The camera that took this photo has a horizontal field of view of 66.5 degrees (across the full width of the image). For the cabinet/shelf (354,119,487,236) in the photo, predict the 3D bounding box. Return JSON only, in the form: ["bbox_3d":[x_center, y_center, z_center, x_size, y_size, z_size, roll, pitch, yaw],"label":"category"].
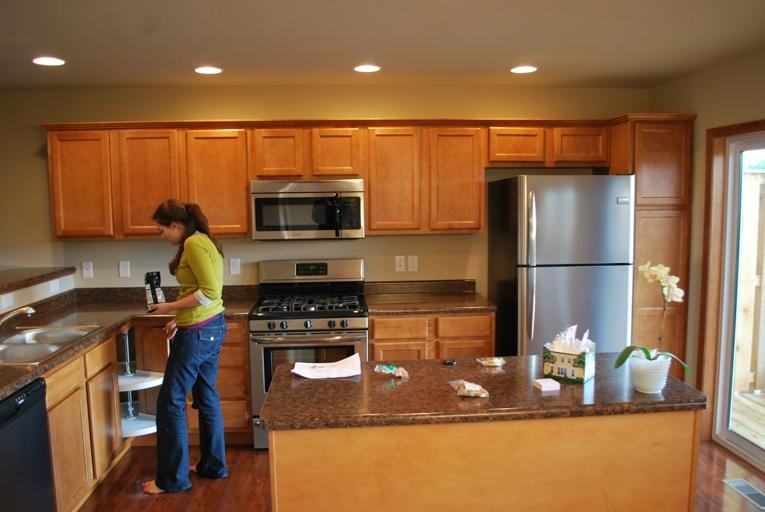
[{"bbox_3d":[0.265,-0.644,5.048,1.238,0.904,0.434,-5,9,-34],"label":"cabinet/shelf"}]

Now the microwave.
[{"bbox_3d":[-0.708,-0.359,4.976,1.012,0.474,0.567,-3,3,-29],"label":"microwave"}]

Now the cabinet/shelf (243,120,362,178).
[{"bbox_3d":[-0.547,-0.869,4.986,1.087,0.431,0.327,4,9,23],"label":"cabinet/shelf"}]

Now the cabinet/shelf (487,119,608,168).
[{"bbox_3d":[1.391,-0.935,5.024,1.227,0.356,0.185,-4,7,-18],"label":"cabinet/shelf"}]

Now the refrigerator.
[{"bbox_3d":[1.450,0.098,4.750,1.163,1.484,0.644,0,7,12],"label":"refrigerator"}]

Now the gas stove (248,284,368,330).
[{"bbox_3d":[-0.593,0.439,4.818,0.947,0.266,0.568,-2,15,-4],"label":"gas stove"}]

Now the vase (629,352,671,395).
[{"bbox_3d":[1.449,0.631,3.185,0.238,0.158,0.223,0,1,-5],"label":"vase"}]

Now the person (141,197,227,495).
[{"bbox_3d":[-1.405,0.635,4.102,0.620,2.038,0.350,-4,7,-14],"label":"person"}]

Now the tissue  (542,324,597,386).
[{"bbox_3d":[1.082,0.569,3.365,0.239,0.258,0.176,1,1,36],"label":"tissue "}]

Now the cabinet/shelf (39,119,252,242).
[{"bbox_3d":[-1.882,-0.613,4.720,1.266,0.597,0.226,-1,-1,-4],"label":"cabinet/shelf"}]
